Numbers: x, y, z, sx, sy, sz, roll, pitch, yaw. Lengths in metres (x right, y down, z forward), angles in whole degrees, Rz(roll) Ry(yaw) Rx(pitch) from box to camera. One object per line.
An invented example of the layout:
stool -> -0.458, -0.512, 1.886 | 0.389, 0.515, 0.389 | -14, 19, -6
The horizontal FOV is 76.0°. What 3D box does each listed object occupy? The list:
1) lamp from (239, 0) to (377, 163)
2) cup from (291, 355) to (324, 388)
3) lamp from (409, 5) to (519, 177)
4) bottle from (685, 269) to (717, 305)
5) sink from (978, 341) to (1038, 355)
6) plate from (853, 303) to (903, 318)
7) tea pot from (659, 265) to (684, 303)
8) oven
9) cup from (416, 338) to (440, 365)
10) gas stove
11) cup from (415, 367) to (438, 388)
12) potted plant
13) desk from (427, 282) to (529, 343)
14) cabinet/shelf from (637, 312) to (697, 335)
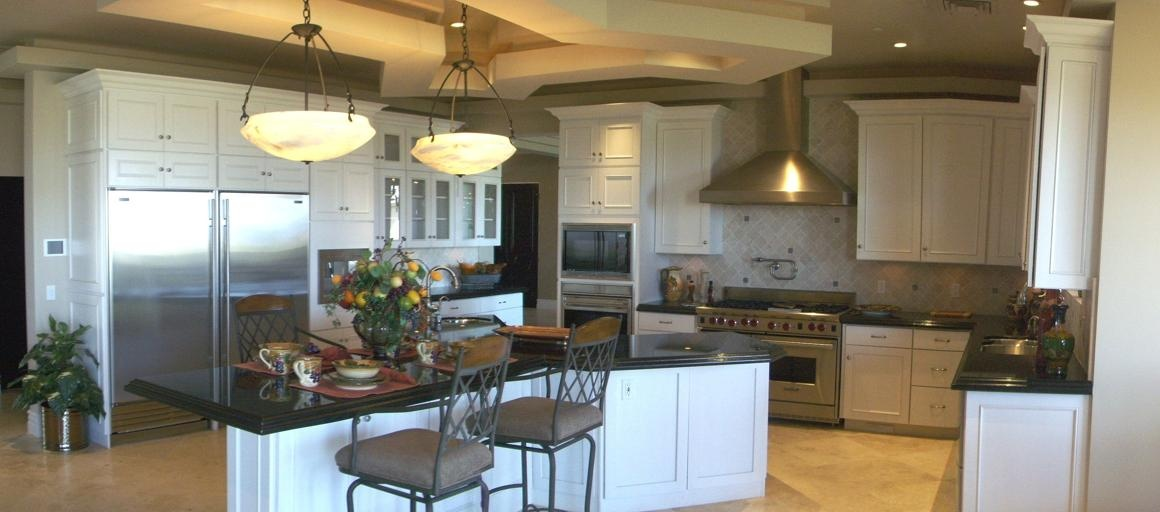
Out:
lamp -> -3.192, -1.916, 8.486 | 1.223, 1.809, 2.349 | -2, 3, -23
cup -> -2.886, 1.206, 7.832 | 0.317, 0.300, 0.247 | 0, 3, 0
lamp -> -1.456, -1.988, 9.576 | 1.246, 2.047, 3.082 | -1, 2, -7
bottle -> 1.842, 0.448, 11.187 | 0.426, 0.491, 0.355 | 0, 3, 6
sink -> 5.291, 1.119, 9.201 | 0.708, 0.132, 0.392 | 0, 2, 8
plate -> 4.201, 0.768, 10.468 | 0.631, 0.138, 0.628 | 0, 2, 13
tea pot -> 1.429, 0.432, 11.237 | 0.375, 0.504, 0.291 | -1, 3, -4
oven -> 2.812, 1.756, 10.748 | 2.551, 1.302, 1.455 | -1, -5, 19
cup -> -1.668, 1.061, 8.153 | 0.334, 0.251, 0.288 | 2, -1, -13
gas stove -> 2.655, 0.877, 10.659 | 1.957, 0.299, 0.747 | 3, 4, 9
cup -> -1.621, 1.313, 7.952 | 0.314, 0.114, 0.241 | 0, 12, -5
potted plant -> -6.772, 1.685, 9.696 | 0.938, 1.723, 0.469 | -2, 3, -27
desk -> -1.686, 0.847, 11.846 | 1.497, 0.470, 0.407 | -2, 13, -23
cabinet/shelf -> 1.332, 0.937, 10.928 | 0.675, 0.449, 0.420 | -1, -4, 25
